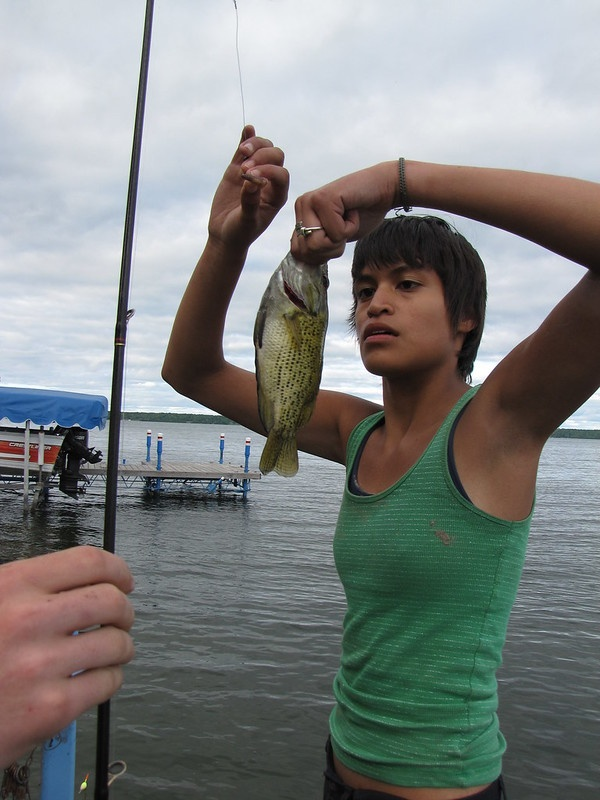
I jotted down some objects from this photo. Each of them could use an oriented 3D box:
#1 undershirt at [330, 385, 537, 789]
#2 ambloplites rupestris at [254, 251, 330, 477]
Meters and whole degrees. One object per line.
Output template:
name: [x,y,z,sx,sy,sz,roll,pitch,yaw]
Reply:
undershirt: [0.404,0.544,2.289,0.535,1.103,0.673,7,-11,-27]
ambloplites rupestris: [-0.038,-0.092,2.079,0.196,0.609,0.377,6,-1,0]
